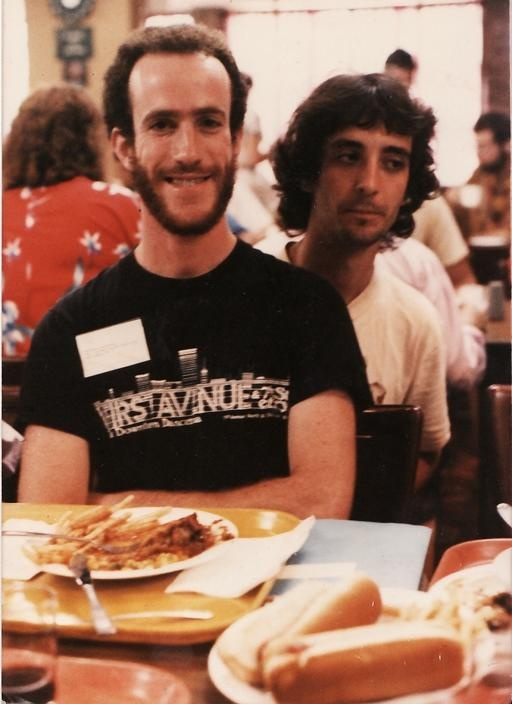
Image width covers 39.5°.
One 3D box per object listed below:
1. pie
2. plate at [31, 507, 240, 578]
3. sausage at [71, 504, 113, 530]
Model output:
[{"bbox_3d":[-0.248,0.383,1.438,0.207,0.032,0.173,-7,4,-28],"label":"pie"},{"bbox_3d":[-0.250,0.386,1.434,0.215,0.035,0.222,0,8,32],"label":"plate"},{"bbox_3d":[-0.346,0.344,1.480,0.071,0.017,0.037,-14,52,-11],"label":"sausage"}]
